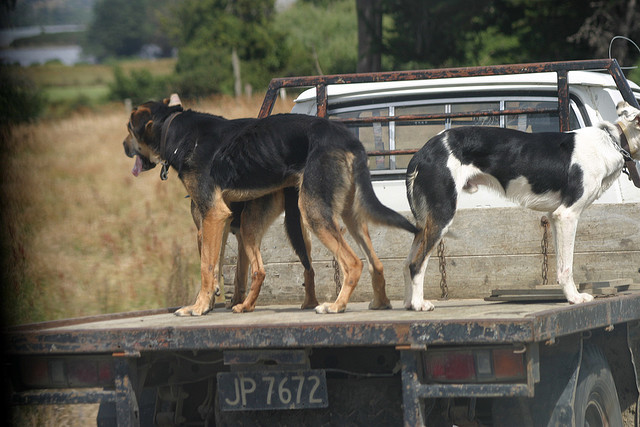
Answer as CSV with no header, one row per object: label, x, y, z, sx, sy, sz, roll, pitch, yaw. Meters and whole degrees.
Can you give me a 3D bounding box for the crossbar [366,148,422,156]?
crossbar,1.536,-1.236,31.935,1.055,0.143,0.116,-5,10,-16
